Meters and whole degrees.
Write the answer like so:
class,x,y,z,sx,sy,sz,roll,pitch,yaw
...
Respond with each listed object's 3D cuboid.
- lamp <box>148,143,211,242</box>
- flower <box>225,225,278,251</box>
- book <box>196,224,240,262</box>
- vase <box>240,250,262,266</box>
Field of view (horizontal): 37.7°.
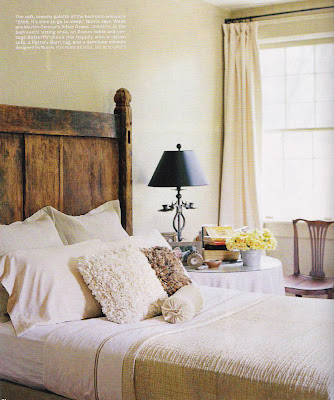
class,x,y,z,sx,sy,sz,roll,pitch,yaw
lamp,0.080,-0.035,3.352,0.412,0.730,0.407,-3,10,-13
flower,0.547,0.255,3.076,0.208,0.130,0.198,7,-9,-35
book,0.318,0.273,3.298,0.234,0.251,0.244,-1,-1,-34
vase,0.520,0.362,3.076,0.101,0.085,0.111,1,-10,-5
